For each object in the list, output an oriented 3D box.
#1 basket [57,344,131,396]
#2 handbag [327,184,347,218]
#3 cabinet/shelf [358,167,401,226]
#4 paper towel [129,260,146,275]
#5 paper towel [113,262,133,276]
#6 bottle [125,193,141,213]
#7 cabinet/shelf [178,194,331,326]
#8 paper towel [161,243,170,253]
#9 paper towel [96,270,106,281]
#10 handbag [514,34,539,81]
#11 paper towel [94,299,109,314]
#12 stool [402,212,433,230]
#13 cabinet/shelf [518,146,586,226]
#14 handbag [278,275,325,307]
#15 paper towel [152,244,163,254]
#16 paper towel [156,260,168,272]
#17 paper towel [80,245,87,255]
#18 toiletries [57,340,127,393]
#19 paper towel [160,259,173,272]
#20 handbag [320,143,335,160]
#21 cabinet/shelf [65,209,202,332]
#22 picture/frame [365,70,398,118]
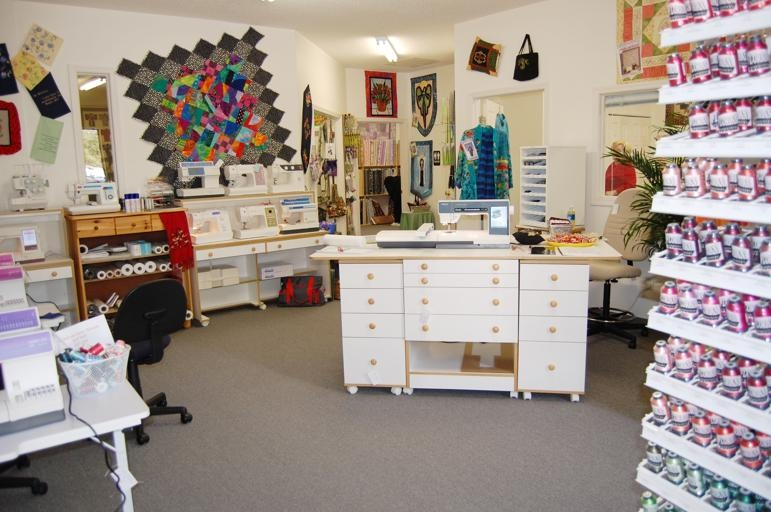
[{"bbox_3d":[-1.636,0.649,3.075,0.301,0.153,0.239,-2,13,2],"label":"basket"},{"bbox_3d":[-0.665,-0.862,8.646,0.459,0.584,0.454,-1,11,-1],"label":"handbag"},{"bbox_3d":[-0.040,-1.157,10.541,1.202,1.122,0.411,1,3,43],"label":"cabinet/shelf"},{"bbox_3d":[-2.760,0.130,6.047,0.124,0.134,0.155,-6,10,-18],"label":"paper towel"},{"bbox_3d":[-2.887,0.149,6.010,0.123,0.121,0.286,-12,11,-33],"label":"paper towel"},{"bbox_3d":[-2.801,-0.596,6.028,0.182,0.200,0.285,-8,11,-24],"label":"bottle"},{"bbox_3d":[-1.506,-0.072,6.711,1.716,1.307,0.513,-10,15,-25],"label":"cabinet/shelf"},{"bbox_3d":[-2.476,-0.078,6.124,0.084,0.077,0.082,-2,3,-7],"label":"paper towel"},{"bbox_3d":[-3.063,0.215,5.871,0.077,0.068,0.162,-14,13,-29],"label":"paper towel"},{"bbox_3d":[1.714,-2.428,6.619,0.103,0.549,0.299,-11,12,-37],"label":"handbag"},{"bbox_3d":[-3.097,0.559,5.919,0.126,0.115,0.290,21,-6,-30],"label":"paper towel"},{"bbox_3d":[0.542,-0.627,9.262,0.466,0.278,0.471,11,18,39],"label":"stool"},{"bbox_3d":[1.976,-0.811,6.360,0.612,0.975,0.563,-4,6,-28],"label":"cabinet/shelf"},{"bbox_3d":[-1.067,0.457,6.971,0.664,0.432,0.376,1,22,-1],"label":"handbag"},{"bbox_3d":[-2.552,-0.074,6.086,0.076,0.062,0.149,-3,5,-27],"label":"paper towel"},{"bbox_3d":[-2.539,0.110,6.197,0.102,0.106,0.127,-11,5,-16],"label":"paper towel"},{"bbox_3d":[-3.196,-0.064,5.760,0.087,0.084,0.020,1,-1,-14],"label":"paper towel"},{"bbox_3d":[-1.639,0.623,3.057,0.298,0.153,0.242,2,11,12],"label":"toiletries"},{"bbox_3d":[-2.505,0.078,6.217,0.106,0.072,0.196,-9,9,-31],"label":"paper towel"},{"bbox_3d":[-0.906,-1.637,8.449,0.133,0.240,0.252,11,17,35],"label":"handbag"},{"bbox_3d":[-2.578,0.115,5.480,1.266,1.283,0.505,-9,10,-36],"label":"cabinet/shelf"},{"bbox_3d":[-0.095,-2.975,9.853,0.868,0.980,0.036,-6,9,-42],"label":"picture/frame"}]
